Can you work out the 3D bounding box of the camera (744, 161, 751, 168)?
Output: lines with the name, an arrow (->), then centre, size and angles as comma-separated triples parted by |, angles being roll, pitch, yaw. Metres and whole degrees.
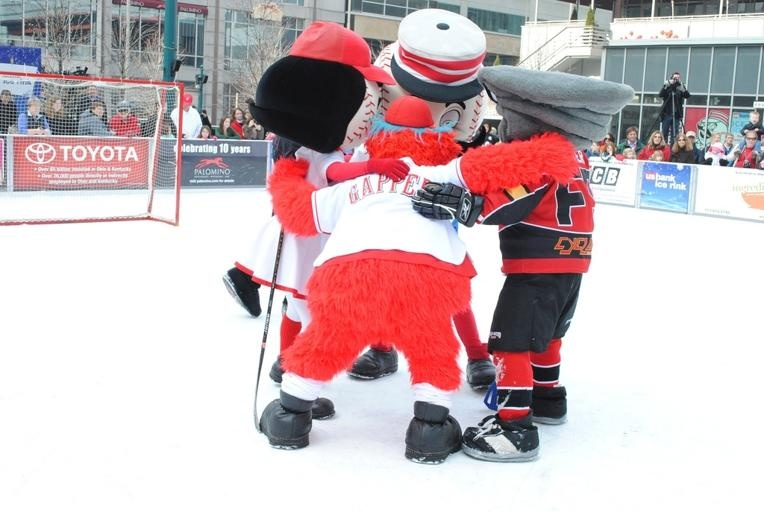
camera -> 6.417, -1.607, 12.607 | 0.094, 0.136, 0.127 | -1, -2, 11
